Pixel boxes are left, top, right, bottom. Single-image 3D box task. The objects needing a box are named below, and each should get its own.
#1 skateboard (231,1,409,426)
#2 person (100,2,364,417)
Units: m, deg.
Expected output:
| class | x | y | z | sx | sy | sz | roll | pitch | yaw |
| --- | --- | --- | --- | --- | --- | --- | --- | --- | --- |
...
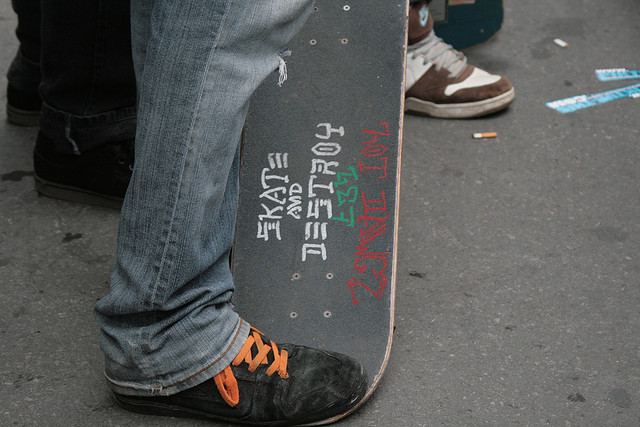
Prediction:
| class | x | y | z | sx | sy | sz | roll | pitch | yaw |
| --- | --- | --- | --- | --- | --- | --- | --- | --- | --- |
| skateboard | 0.022 | -0.059 | 2.136 | 0.423 | 1.489 | 0.224 | 7 | -13 | 11 |
| person | -0.220 | 0.024 | 1.759 | 0.661 | 1.099 | 0.416 | 8 | 28 | -1 |
